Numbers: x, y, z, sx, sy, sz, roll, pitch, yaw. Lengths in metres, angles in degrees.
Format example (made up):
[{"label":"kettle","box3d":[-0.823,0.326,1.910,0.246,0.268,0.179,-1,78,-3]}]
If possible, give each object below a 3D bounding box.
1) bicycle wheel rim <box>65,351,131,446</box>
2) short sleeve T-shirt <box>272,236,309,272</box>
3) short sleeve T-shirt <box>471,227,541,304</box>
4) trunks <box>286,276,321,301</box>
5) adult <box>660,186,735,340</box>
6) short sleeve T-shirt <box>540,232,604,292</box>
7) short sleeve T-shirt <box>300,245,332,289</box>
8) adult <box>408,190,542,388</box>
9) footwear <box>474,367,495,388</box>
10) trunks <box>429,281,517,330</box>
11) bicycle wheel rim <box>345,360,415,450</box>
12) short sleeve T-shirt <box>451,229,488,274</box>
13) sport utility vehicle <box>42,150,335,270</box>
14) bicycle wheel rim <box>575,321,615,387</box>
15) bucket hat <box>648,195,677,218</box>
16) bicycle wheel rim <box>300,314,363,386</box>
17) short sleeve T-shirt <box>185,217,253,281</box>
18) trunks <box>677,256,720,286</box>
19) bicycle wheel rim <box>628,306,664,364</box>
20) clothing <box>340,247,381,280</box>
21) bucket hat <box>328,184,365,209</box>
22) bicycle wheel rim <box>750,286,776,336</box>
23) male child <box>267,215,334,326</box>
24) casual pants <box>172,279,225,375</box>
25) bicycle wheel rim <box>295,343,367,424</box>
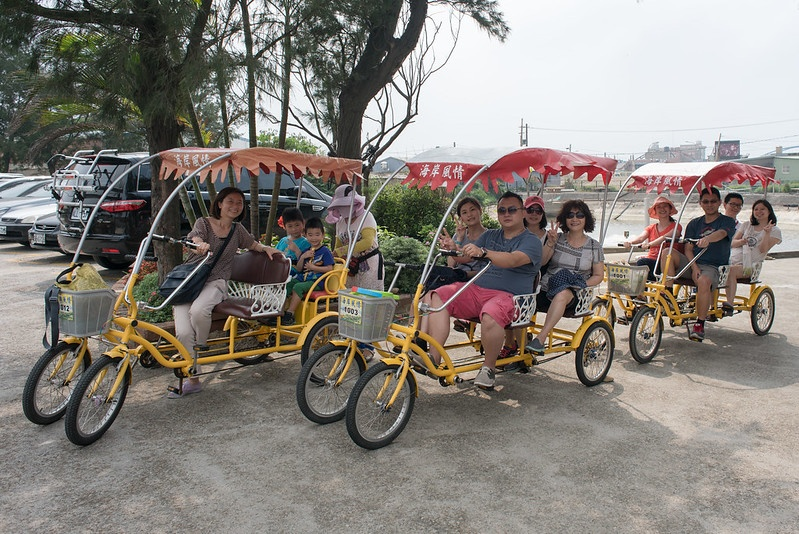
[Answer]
[{"label":"bicycle wheel rim","box3d":[-2.621,1.154,4.795,0.190,0.629,0.634,17,20,15]},{"label":"short sleeve T-shirt","box3d":[-1.259,-0.146,6.415,0.413,0.468,0.281,-3,-7,35]},{"label":"short sleeve T-shirt","box3d":[1.102,-0.086,5.852,0.941,0.722,0.544,6,1,29]},{"label":"trunks","box3d":[-1.116,0.247,6.294,0.258,0.112,0.251,-8,14,-44]},{"label":"adult","box3d":[4.066,-0.119,7.598,1.049,2.013,0.855,-2,3,-35]},{"label":"short sleeve T-shirt","box3d":[1.933,-0.063,6.288,0.685,0.660,0.384,15,15,19]},{"label":"short sleeve T-shirt","box3d":[-0.971,-0.024,6.619,0.288,0.502,0.482,-11,15,-37]},{"label":"adult","box3d":[0.837,0.145,5.579,1.426,1.900,1.078,2,3,-27]},{"label":"footwear","box3d":[0.822,1.069,5.303,0.156,0.233,0.231,6,9,16]},{"label":"trunks","box3d":[0.733,0.432,5.532,0.582,0.176,0.325,5,15,28]},{"label":"bicycle wheel rim","box3d":[-0.157,1.233,4.861,0.189,0.703,0.716,19,16,40]},{"label":"short sleeve T-shirt","box3d":[0.729,-0.153,5.719,0.471,0.433,0.263,-4,-5,1]},{"label":"sport utility vehicle","box3d":[-3.581,-1.173,10.808,5.260,1.893,2.390,-8,11,-41]},{"label":"bicycle wheel rim","box3d":[2.116,0.946,6.009,0.687,0.744,0.156,3,5,-44]},{"label":"bucket hat","box3d":[3.650,-0.892,7.713,0.329,0.197,0.345,-5,-11,26]},{"label":"bicycle wheel rim","box3d":[-0.661,0.815,5.354,0.201,0.606,0.610,16,26,32]},{"label":"short sleeve T-shirt","box3d":[-1.810,-0.250,5.885,0.246,0.442,0.461,24,-1,2]},{"label":"trunks","box3d":[4.041,0.094,7.415,0.541,0.337,0.338,-2,10,-34]},{"label":"bicycle wheel rim","box3d":[3.003,0.836,6.729,0.181,0.619,0.631,11,1,41]},{"label":"clothing","box3d":[-0.463,-0.066,6.655,0.402,0.381,0.295,1,3,-15]},{"label":"bucket hat","box3d":[-0.630,-0.835,6.545,0.310,0.195,0.275,-10,8,-1]},{"label":"bicycle wheel rim","box3d":[5.129,0.622,7.812,0.616,0.628,0.144,-9,13,-44]},{"label":"male child","box3d":[-1.154,0.009,6.457,0.775,1.184,0.596,0,8,-44]},{"label":"casual pants","box3d":[-2.013,0.509,5.583,0.506,0.740,0.335,0,9,-21]},{"label":"bicycle wheel rim","box3d":[-0.623,1.107,5.145,0.186,0.642,0.656,21,1,35]}]
